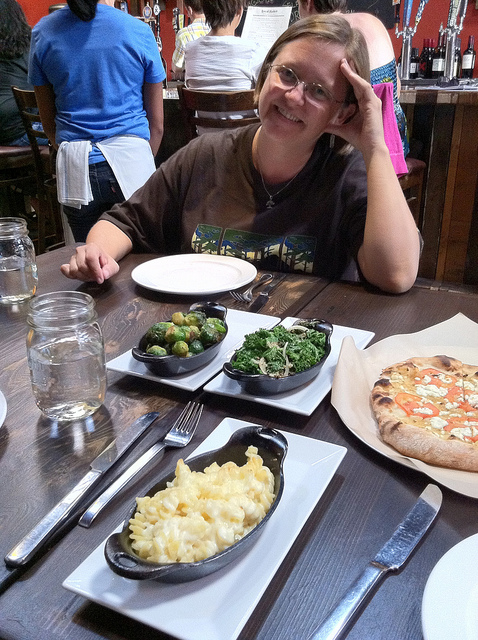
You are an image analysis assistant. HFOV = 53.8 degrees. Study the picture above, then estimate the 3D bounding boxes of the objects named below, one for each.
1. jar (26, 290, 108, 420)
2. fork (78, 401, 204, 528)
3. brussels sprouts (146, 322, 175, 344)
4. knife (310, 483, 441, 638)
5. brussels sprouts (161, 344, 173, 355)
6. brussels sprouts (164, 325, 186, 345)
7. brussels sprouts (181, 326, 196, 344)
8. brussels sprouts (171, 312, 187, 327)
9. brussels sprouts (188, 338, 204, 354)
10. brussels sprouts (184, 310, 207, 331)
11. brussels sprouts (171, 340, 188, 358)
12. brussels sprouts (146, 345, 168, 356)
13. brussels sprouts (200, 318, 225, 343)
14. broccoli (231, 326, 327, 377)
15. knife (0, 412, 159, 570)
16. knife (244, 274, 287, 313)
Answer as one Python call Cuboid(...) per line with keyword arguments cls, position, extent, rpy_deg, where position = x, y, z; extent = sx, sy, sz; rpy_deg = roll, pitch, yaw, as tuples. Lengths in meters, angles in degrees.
Cuboid(cls="jar", position=(-0.265, 0.064, 0.726), extent=(0.116, 0.175, 0.108), rpy_deg=(-2, 15, 1))
Cuboid(cls="fork", position=(-0.112, 0.164, 0.665), extent=(0.040, 0.043, 0.301), rpy_deg=(6, 28, 28))
Cuboid(cls="brussels sprouts", position=(-0.135, 0.023, 0.813), extent=(0.033, 0.023, 0.043), rpy_deg=(4, 19, 23))
Cuboid(cls="knife", position=(0.163, 0.192, 0.495), extent=(0.053, 0.018, 0.345), rpy_deg=(5, 20, 35))
Cuboid(cls="brussels sprouts", position=(-0.123, 0.051, 0.808), extent=(0.016, 0.010, 0.019), rpy_deg=(8, 4, 6))
Cuboid(cls="brussels sprouts", position=(-0.108, 0.025, 0.797), extent=(0.026, 0.019, 0.033), rpy_deg=(-2, 3, 0))
Cuboid(cls="brussels sprouts", position=(-0.087, 0.025, 0.813), extent=(0.025, 0.010, 0.026), rpy_deg=(-3, 58, -30))
Cuboid(cls="brussels sprouts", position=(-0.110, 0.000, 0.868), extent=(0.024, 0.025, 0.025), rpy_deg=(2, 0, 2))
Cuboid(cls="brussels sprouts", position=(-0.073, 0.045, 0.802), extent=(0.019, 0.013, 0.024), rpy_deg=(3, 17, 0))
Cuboid(cls="brussels sprouts", position=(-0.080, -0.001, 0.872), extent=(0.029, 0.020, 0.035), rpy_deg=(-2, 5, -20))
Cuboid(cls="brussels sprouts", position=(-0.097, 0.048, 0.784), extent=(0.021, 0.026, 0.020), rpy_deg=(4, -17, 11))
Cuboid(cls="brussels sprouts", position=(-0.138, 0.049, 0.785), extent=(0.017, 0.012, 0.022), rpy_deg=(5, 5, -2))
Cuboid(cls="brussels sprouts", position=(-0.045, 0.018, 0.849), extent=(0.032, 0.017, 0.044), rpy_deg=(5, 28, -4))
Cuboid(cls="broccoli", position=(0.063, 0.051, 0.761), extent=(0.084, 0.021, 0.128), rpy_deg=(22, 35, 33))
Cuboid(cls="knife", position=(-0.186, 0.189, 0.574), extent=(0.036, 0.011, 0.256), rpy_deg=(-2, 17, 18))
Cuboid(cls="knife", position=(0.060, -0.059, 1.136), extent=(0.037, 0.021, 0.308), rpy_deg=(22, 23, 5))
